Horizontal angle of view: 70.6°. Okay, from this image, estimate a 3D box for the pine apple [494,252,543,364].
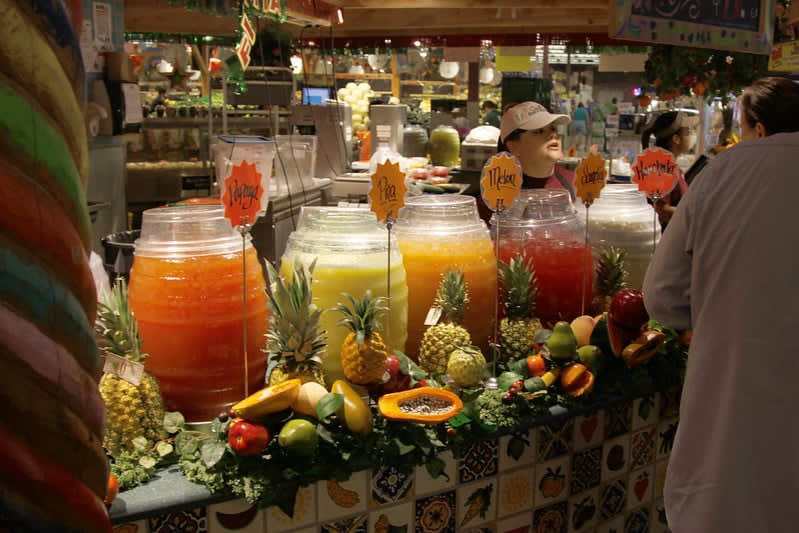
[{"bbox_3d":[0.424,0.136,2.000,0.145,0.345,0.274,-1,14,12],"label":"pine apple"}]

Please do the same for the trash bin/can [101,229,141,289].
[{"bbox_3d":[-1.190,-0.030,2.406,0.165,0.240,0.179,-8,19,-26],"label":"trash bin/can"}]

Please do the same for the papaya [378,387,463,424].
[{"bbox_3d":[0.060,0.395,1.592,0.236,0.071,0.132,-4,14,-4],"label":"papaya"}]

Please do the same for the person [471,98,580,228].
[{"bbox_3d":[0.659,-0.574,2.946,0.616,0.431,0.728,-11,-13,1],"label":"person"}]

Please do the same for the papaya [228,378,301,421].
[{"bbox_3d":[-0.336,0.341,1.447,0.166,0.086,0.167,6,14,24],"label":"papaya"}]

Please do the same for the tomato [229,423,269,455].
[{"bbox_3d":[-0.379,0.427,1.404,0.064,0.061,0.080,4,12,26],"label":"tomato"}]

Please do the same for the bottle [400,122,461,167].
[{"bbox_3d":[0.250,-0.999,4.743,0.383,0.440,0.906,-8,13,-32],"label":"bottle"}]

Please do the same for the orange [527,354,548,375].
[{"bbox_3d":[0.444,0.319,1.826,0.067,0.064,0.046,1,-13,-44],"label":"orange"}]

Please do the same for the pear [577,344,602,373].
[{"bbox_3d":[0.633,0.300,1.868,0.069,0.086,0.071,-3,-4,-32],"label":"pear"}]

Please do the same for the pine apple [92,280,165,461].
[{"bbox_3d":[-0.725,0.252,1.489,0.147,0.442,0.256,-10,16,-24],"label":"pine apple"}]

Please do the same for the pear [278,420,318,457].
[{"bbox_3d":[-0.253,0.428,1.425,0.078,0.076,0.100,1,-8,0],"label":"pear"}]

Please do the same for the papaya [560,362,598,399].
[{"bbox_3d":[0.587,0.367,1.840,0.128,0.102,0.052,-11,16,-28],"label":"papaya"}]

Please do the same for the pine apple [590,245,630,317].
[{"bbox_3d":[0.856,0.078,2.268,0.141,0.277,0.134,3,0,16],"label":"pine apple"}]

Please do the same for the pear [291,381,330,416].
[{"bbox_3d":[-0.240,0.348,1.498,0.091,0.068,0.067,24,39,16],"label":"pear"}]

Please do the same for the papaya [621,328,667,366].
[{"bbox_3d":[0.845,0.286,1.966,0.201,0.072,0.050,-15,22,-33],"label":"papaya"}]

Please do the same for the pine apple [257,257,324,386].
[{"bbox_3d":[-0.309,0.164,1.645,0.178,0.358,0.269,-6,14,-9],"label":"pine apple"}]

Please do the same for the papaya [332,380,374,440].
[{"bbox_3d":[-0.122,0.382,1.516,0.078,0.069,0.154,-12,56,-47],"label":"papaya"}]

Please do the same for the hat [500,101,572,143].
[{"bbox_3d":[0.644,-0.680,2.691,0.316,0.182,0.263,-1,15,9],"label":"hat"}]
